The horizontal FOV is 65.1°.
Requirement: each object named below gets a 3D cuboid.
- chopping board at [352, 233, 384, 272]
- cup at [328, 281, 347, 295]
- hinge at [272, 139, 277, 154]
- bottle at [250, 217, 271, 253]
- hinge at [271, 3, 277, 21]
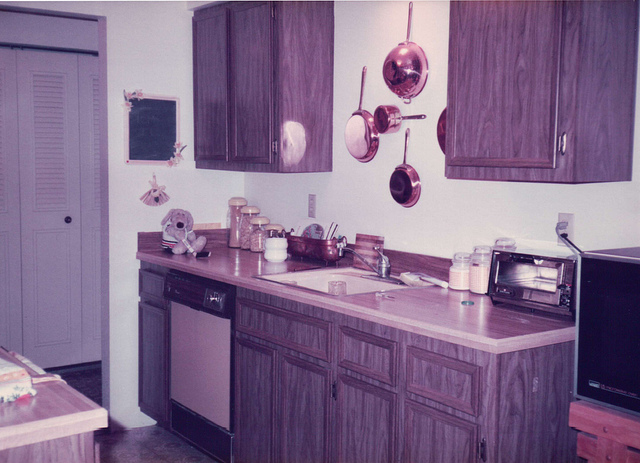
[{"bbox_3d":[0.288,0.123,2.900,0.177,0.210,0.019,13,3,44],"label":"chopping board"},{"bbox_3d":[0.088,0.262,2.397,0.063,0.049,0.065,0,7,0],"label":"cup"},{"bbox_3d":[-0.268,-0.514,3.006,0.015,0.074,0.040,-11,13,-39],"label":"hinge"},{"bbox_3d":[-0.405,0.018,3.499,0.143,0.252,0.147,0,3,0],"label":"bottle"},{"bbox_3d":[-0.267,-1.305,2.965,0.040,0.092,0.010,5,12,36],"label":"hinge"}]
